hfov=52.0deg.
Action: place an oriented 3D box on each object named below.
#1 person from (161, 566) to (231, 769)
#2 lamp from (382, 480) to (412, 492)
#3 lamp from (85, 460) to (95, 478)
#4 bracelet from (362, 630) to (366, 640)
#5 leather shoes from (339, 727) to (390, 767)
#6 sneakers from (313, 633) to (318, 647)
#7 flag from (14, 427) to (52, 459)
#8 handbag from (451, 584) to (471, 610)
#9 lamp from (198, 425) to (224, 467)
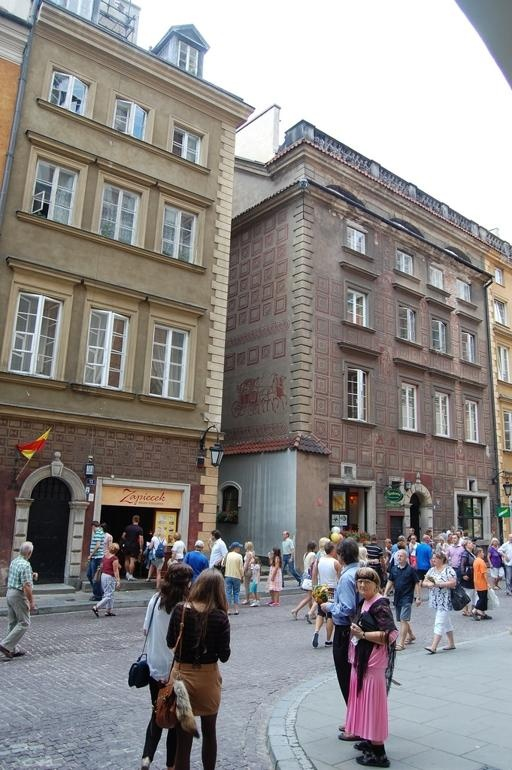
[{"bbox_3d":[-0.381,1.837,3.304,0.394,1.260,0.530,3,-12,-8],"label":"person"},{"bbox_3d":[6.302,4.701,23.493,1.081,0.308,0.798,2,-7,-32],"label":"lamp"},{"bbox_3d":[-4.860,2.456,15.348,0.335,0.675,0.179,10,-15,-33],"label":"lamp"},{"bbox_3d":[0.878,2.058,4.275,0.032,0.054,0.050,-1,10,6],"label":"bracelet"},{"bbox_3d":[0.827,2.945,4.268,0.165,0.221,0.486,6,-4,-38],"label":"leather shoes"},{"bbox_3d":[1.059,4.644,9.467,0.105,0.255,0.218,2,-13,0],"label":"sneakers"},{"bbox_3d":[-6.075,1.600,14.318,0.820,0.909,0.501,9,-14,-28],"label":"flag"},{"bbox_3d":[3.629,3.812,9.399,0.205,0.415,0.691,-6,-15,30],"label":"handbag"},{"bbox_3d":[-1.477,2.057,17.659,0.886,1.487,0.994,8,-14,-26],"label":"lamp"}]
